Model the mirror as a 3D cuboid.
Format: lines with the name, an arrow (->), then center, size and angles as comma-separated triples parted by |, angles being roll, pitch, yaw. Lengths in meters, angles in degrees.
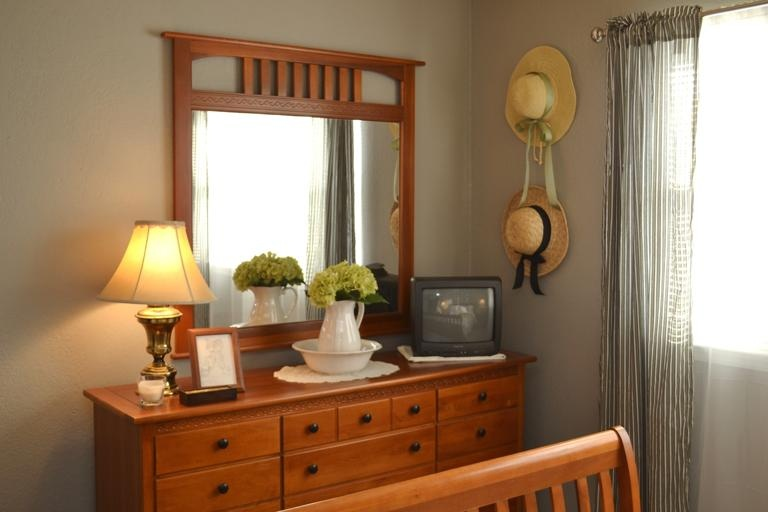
mirror -> -0.537, -0.341, 3.220 | 1.894, 2.168, 0.083 | 0, -1, -34

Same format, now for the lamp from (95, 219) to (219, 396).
lamp -> -0.994, 0.181, 3.170 | 0.691, 1.064, 0.722 | 0, 7, -6

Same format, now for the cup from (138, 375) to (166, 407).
cup -> -1.034, 0.607, 2.670 | 0.115, 0.097, 0.109 | 3, -1, 0

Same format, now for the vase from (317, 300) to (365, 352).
vase -> -0.201, 0.378, 3.166 | 0.206, 0.299, 0.304 | -3, -2, 43

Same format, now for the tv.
tv -> 0.411, 0.337, 3.417 | 0.495, 0.435, 0.277 | 0, 5, -3

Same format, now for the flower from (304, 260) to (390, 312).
flower -> -0.200, 0.153, 3.094 | 0.334, 0.221, 0.217 | -6, 6, -45

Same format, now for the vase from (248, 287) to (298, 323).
vase -> -0.609, 0.298, 3.294 | 0.274, 0.280, 0.177 | -2, -10, -4

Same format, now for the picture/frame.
picture/frame -> -0.806, 0.501, 2.822 | 0.288, 0.396, 0.040 | -2, -22, -33

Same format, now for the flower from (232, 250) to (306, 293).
flower -> -0.657, 0.098, 3.334 | 0.351, 0.235, 0.335 | -7, -2, -38
